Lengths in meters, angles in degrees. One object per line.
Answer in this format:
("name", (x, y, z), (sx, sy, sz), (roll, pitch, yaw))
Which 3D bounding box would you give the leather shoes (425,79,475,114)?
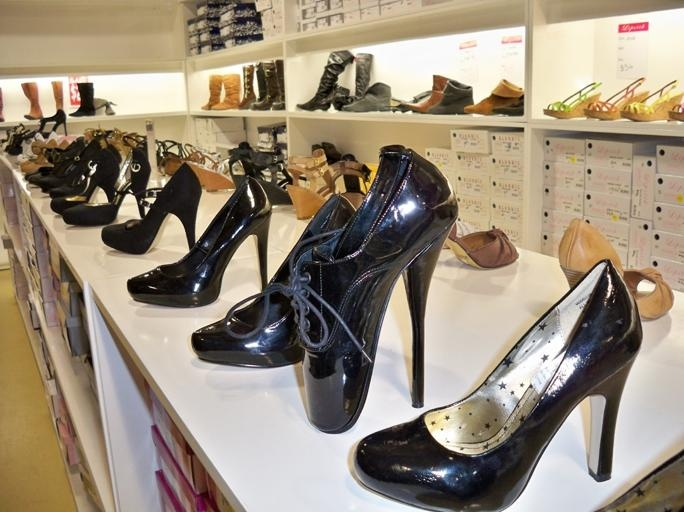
("leather shoes", (0.524, -0.754, 2.271), (0.251, 0.159, 0.093), (4, 41, 24))

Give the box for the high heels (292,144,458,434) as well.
("high heels", (0.023, 0.043, 0.663), (0.162, 0.421, 0.145), (11, 0, -15))

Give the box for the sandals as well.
("sandals", (0.282, -0.024, 1.046), (0.168, 0.068, 0.105), (18, 34, 13))

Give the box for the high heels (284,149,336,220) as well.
("high heels", (-0.129, -0.314, 2.057), (0.135, 0.164, 0.410), (-5, 29, 13))
